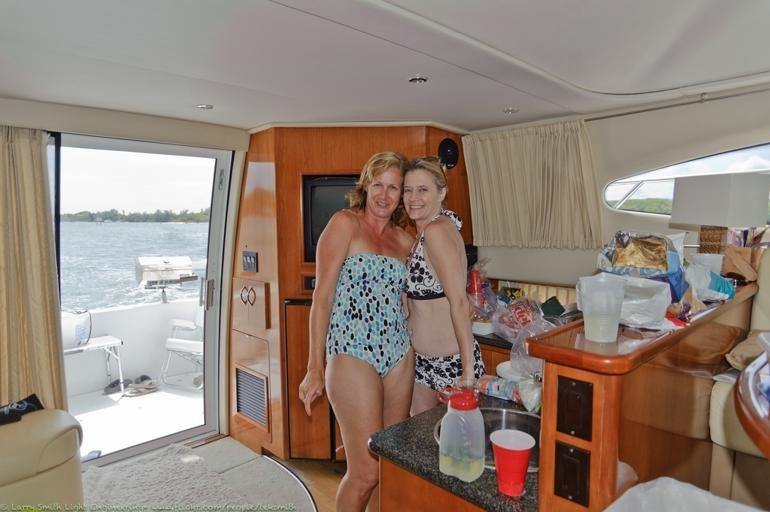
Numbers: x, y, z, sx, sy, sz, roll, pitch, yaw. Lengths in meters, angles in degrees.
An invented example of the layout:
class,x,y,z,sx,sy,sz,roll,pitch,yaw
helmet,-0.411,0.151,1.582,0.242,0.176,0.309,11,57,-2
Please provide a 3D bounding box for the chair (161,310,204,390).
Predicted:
class,x,y,z,sx,sy,sz,roll,pitch,yaw
chair,-2.200,1.002,5.245,0.452,0.740,0.707,-3,14,-21

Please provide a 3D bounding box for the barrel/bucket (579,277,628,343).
class,x,y,z,sx,sy,sz,roll,pitch,yaw
barrel/bucket,0.800,0.183,1.787,0.184,0.236,0.152,4,13,8

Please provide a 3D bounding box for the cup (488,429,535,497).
class,x,y,z,sx,sy,sz,roll,pitch,yaw
cup,0.485,0.813,1.871,0.148,0.162,0.152,10,-28,5

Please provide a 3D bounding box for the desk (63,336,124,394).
class,x,y,z,sx,sy,sz,roll,pitch,yaw
desk,-2.927,1.112,4.906,0.475,0.377,0.381,7,-9,-31

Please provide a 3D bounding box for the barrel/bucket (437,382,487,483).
class,x,y,z,sx,sy,sz,roll,pitch,yaw
barrel/bucket,0.315,0.719,1.947,0.195,0.318,0.199,1,-2,0

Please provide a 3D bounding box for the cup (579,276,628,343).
class,x,y,z,sx,sy,sz,roll,pitch,yaw
cup,0.809,0.190,1.785,0.162,0.221,0.145,-11,15,-17

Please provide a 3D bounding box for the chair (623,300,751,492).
class,x,y,z,sx,sy,sz,roll,pitch,yaw
chair,1.314,0.670,2.046,0.552,0.470,0.323,-21,-23,23

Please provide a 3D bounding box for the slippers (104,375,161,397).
class,x,y,z,sx,sy,sz,roll,pitch,yaw
slippers,-2.610,1.353,4.991,0.311,0.093,0.216,2,-1,-34

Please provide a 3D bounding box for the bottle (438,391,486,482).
class,x,y,z,sx,sy,sz,roll,pitch,yaw
bottle,0.314,0.720,1.947,0.196,0.323,0.195,0,2,0
